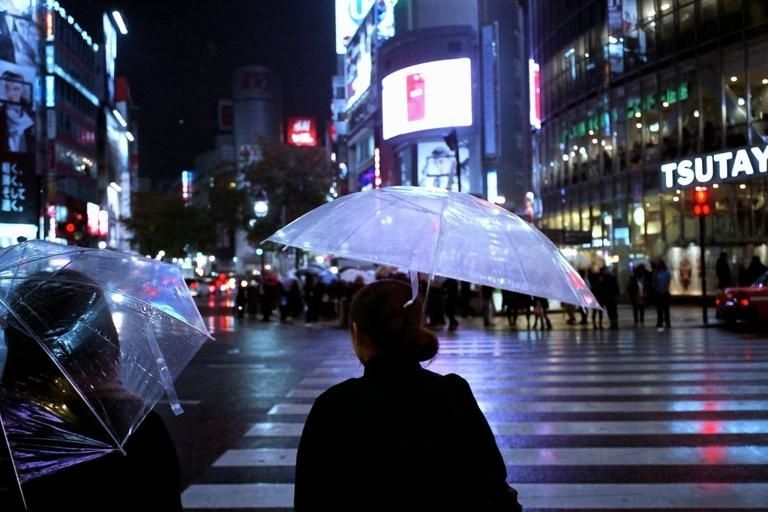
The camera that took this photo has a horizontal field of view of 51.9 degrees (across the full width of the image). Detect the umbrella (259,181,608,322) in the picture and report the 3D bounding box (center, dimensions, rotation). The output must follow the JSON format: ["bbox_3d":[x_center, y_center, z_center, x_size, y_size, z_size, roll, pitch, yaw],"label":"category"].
[{"bbox_3d":[0.313,-0.176,6.495,1.570,0.550,1.498,20,-1,-41],"label":"umbrella"}]
